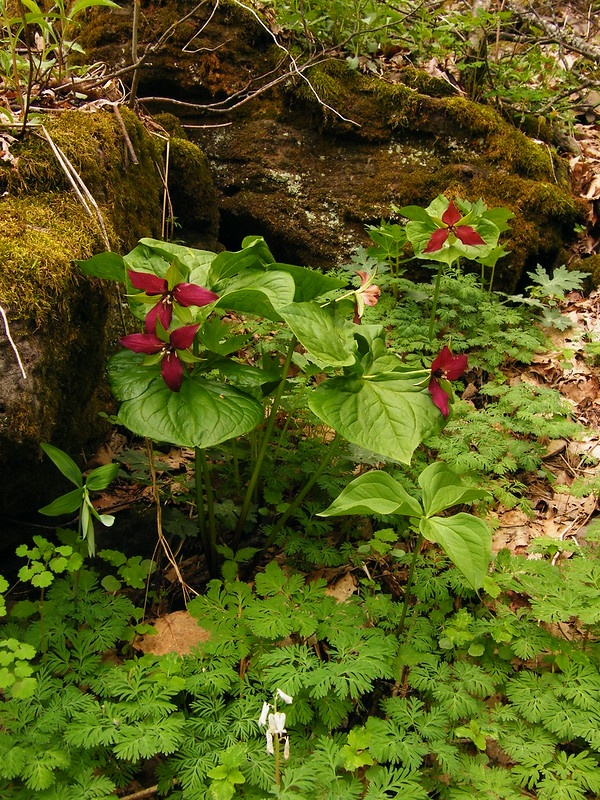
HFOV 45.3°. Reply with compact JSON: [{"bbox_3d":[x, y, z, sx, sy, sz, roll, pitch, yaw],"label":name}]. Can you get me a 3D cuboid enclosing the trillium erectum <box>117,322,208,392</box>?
[{"bbox_3d":[-0.501,-0.179,2.706,0.269,0.236,0.089,-11,18,15],"label":"trillium erectum"}]
